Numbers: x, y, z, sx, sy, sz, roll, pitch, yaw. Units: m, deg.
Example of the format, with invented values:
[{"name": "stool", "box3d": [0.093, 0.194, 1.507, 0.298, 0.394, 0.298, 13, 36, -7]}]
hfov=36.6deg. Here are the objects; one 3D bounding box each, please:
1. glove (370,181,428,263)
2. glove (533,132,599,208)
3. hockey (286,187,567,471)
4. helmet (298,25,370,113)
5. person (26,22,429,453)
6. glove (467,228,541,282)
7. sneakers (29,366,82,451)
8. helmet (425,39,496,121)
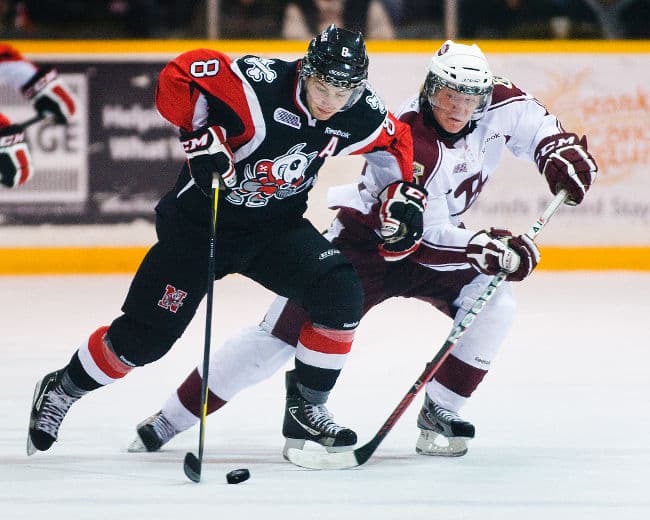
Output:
[{"name": "glove", "box3d": [0.286, -0.143, 3.744, 0.230, 0.251, 0.295, 15, 10, 3]}, {"name": "glove", "box3d": [0.969, -0.382, 4.040, 0.272, 0.132, 0.283, -3, 66, -13]}, {"name": "hockey", "box3d": [0.412, 0.336, 4.181, 1.825, 0.094, 0.306, -38, 60, -6]}, {"name": "helmet", "box3d": [0.029, -0.675, 3.522, 0.231, 0.281, 0.151, 0, 10, -4]}, {"name": "person", "box3d": [-0.332, -0.086, 3.694, 1.404, 1.564, 0.484, 1, 10, 2]}, {"name": "glove", "box3d": [0.677, -0.026, 3.822, 0.268, 0.171, 0.112, 23, 1, 2]}, {"name": "sneakers", "box3d": [-1.020, 0.569, 3.740, 0.120, 0.153, 0.348, 33, 49, -37]}, {"name": "helmet", "box3d": [0.521, -0.723, 3.933, 0.290, 0.315, 0.231, 2, 10, 6]}]
